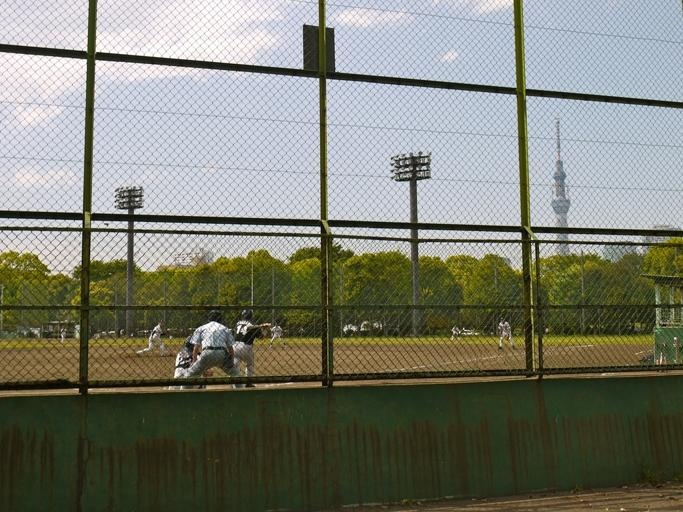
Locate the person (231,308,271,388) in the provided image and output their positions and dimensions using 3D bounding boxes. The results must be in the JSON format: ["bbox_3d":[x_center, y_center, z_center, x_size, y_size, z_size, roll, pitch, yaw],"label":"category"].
[{"bbox_3d":[-1.132,1.097,13.112,0.410,0.936,0.376,-2,15,-28],"label":"person"}]

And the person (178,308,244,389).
[{"bbox_3d":[-1.573,1.169,13.263,0.773,1.053,0.535,2,3,-14],"label":"person"}]

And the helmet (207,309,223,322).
[{"bbox_3d":[-1.526,0.719,12.820,0.193,0.152,0.294,3,-14,-18],"label":"helmet"}]
